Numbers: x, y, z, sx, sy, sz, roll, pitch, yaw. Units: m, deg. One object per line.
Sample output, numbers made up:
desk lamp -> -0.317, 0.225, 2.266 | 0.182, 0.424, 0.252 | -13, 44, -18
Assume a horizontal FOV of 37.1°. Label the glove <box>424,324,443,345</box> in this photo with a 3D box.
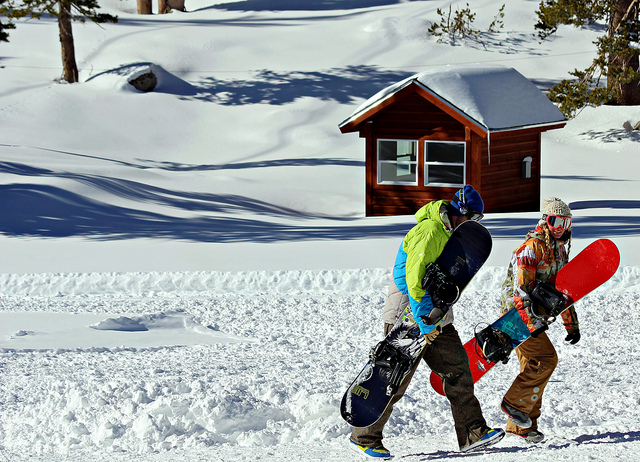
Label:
glove -> 1.527, 1.406, 12.878 | 0.099, 0.304, 0.193 | 43, 5, 41
